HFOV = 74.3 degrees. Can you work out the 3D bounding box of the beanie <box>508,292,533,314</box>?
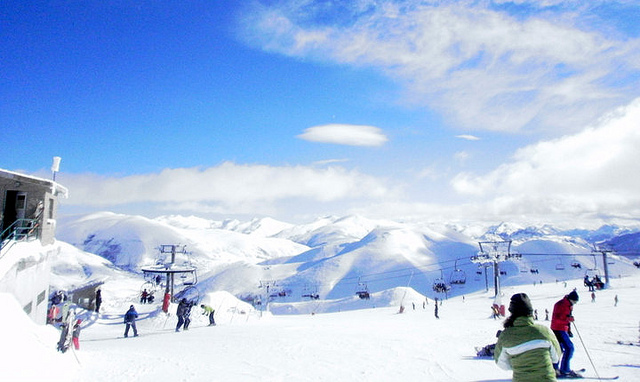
[{"bbox_3d":[8.598,4.837,18.133,0.934,0.881,1.027,3,-7,31],"label":"beanie"}]
